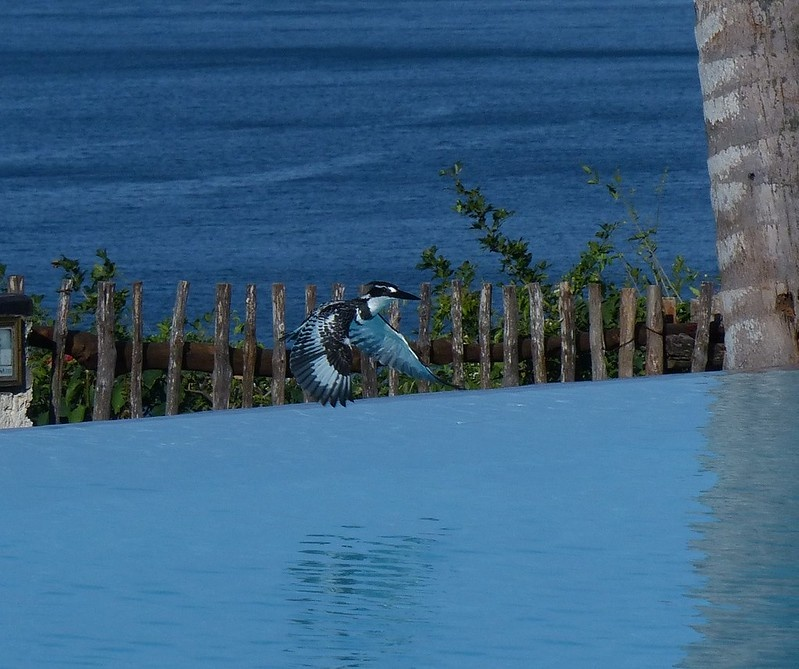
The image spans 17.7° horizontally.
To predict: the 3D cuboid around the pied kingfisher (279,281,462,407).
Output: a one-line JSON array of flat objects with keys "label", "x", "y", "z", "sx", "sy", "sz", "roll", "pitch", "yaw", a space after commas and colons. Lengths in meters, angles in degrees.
[{"label": "pied kingfisher", "x": -0.985, "y": 0.054, "z": 37.778, "sx": 1.904, "sy": 1.088, "sz": 2.373, "roll": 13, "pitch": 16, "yaw": 26}]
